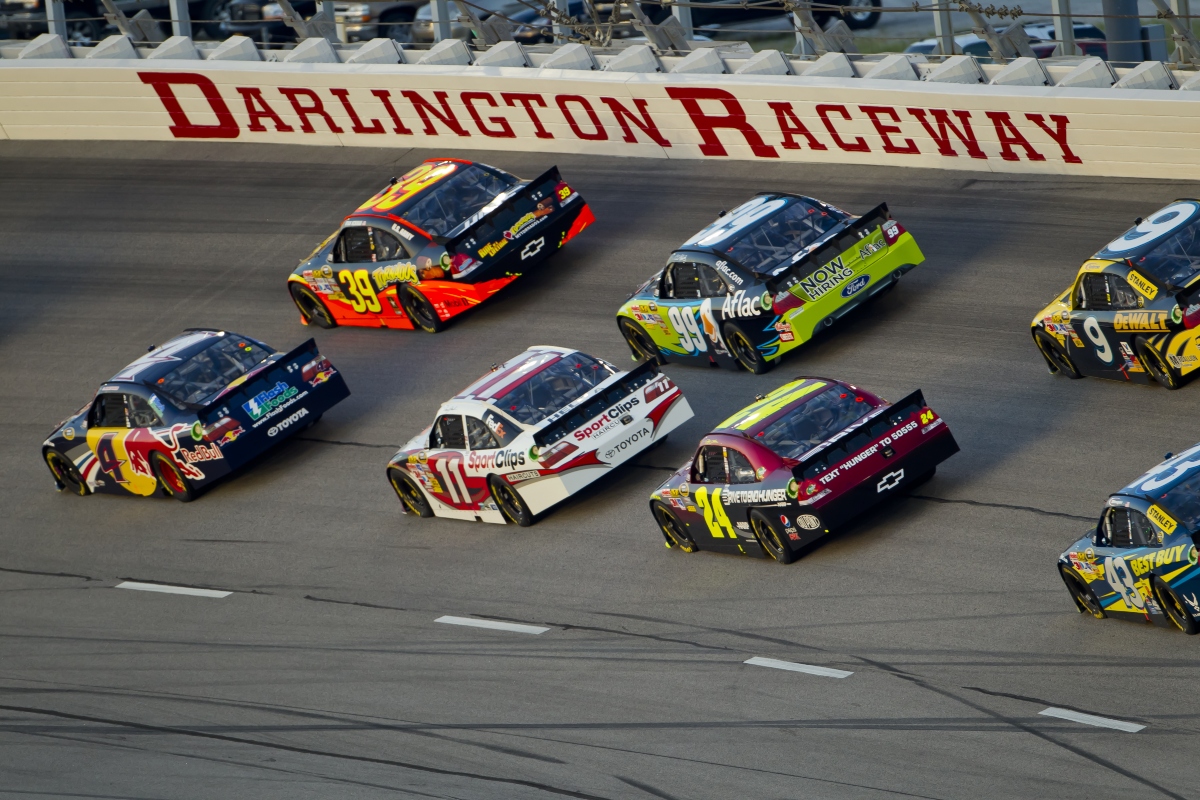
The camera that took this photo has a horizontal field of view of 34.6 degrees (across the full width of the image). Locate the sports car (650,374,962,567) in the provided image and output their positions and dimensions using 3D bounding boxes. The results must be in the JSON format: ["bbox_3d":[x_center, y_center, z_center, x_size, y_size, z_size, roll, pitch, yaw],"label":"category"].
[{"bbox_3d":[2.544,0.902,24.552,2.651,2.006,2.476,-31,33,-30],"label":"sports car"}]

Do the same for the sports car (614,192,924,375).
[{"bbox_3d":[2.286,-1.910,28.967,2.658,1.386,4.632,-38,23,-25],"label":"sports car"}]

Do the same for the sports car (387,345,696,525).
[{"bbox_3d":[-1.045,0.442,27.349,2.453,1.298,4.463,-35,20,-34],"label":"sports car"}]

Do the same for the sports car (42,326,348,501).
[{"bbox_3d":[-6.528,0.130,30.116,5.248,1.383,2.697,-1,30,44],"label":"sports car"}]
